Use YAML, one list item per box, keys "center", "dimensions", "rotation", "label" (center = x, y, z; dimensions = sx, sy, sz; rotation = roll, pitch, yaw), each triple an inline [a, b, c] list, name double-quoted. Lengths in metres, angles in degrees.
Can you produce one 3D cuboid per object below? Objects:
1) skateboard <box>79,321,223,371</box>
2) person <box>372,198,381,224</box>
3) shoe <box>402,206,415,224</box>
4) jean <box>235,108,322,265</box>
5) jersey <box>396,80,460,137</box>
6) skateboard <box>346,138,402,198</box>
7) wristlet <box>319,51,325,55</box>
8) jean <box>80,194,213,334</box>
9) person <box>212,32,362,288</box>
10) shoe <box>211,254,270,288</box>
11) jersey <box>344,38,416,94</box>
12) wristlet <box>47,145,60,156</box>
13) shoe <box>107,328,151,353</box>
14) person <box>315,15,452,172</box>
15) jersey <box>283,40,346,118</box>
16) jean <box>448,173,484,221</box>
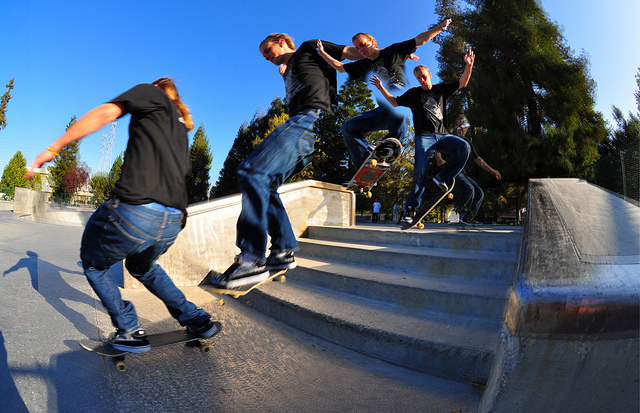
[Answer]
- center: [-1.463, 1.170, 3.283]
  dimensions: [1.086, 0.192, 0.395]
  rotation: [5, 7, -34]
  label: "skateboard"
- center: [2.987, 0.283, 20.591]
  dimensions: [0.314, 1.203, 1.209]
  rotation: [5, 2, 8]
  label: "person"
- center: [1.314, 0.149, 5.631]
  dimensions: [0.109, 0.155, 0.335]
  rotation: [5, 25, 16]
  label: "shoe"
- center: [-0.420, -0.217, 3.399]
  dimensions: [0.706, 1.174, 0.247]
  rotation: [4, 2, -35]
  label: "jean"
- center: [1.724, -1.551, 5.896]
  dimensions: [1.173, 0.891, 0.187]
  rotation: [-4, 0, 0]
  label: "jersey"
- center: [0.809, -0.610, 5.895]
  dimensions: [0.392, 0.200, 1.331]
  rotation: [9, -26, -10]
  label: "skateboard"
- center: [-0.005, -1.506, 3.525]
  dimensions: [0.047, 0.026, 0.021]
  rotation: [6, 2, 17]
  label: "wristlet"
- center: [-1.519, 0.499, 3.324]
  dimensions: [0.975, 1.530, 0.666]
  rotation: [-2, 17, -37]
  label: "jean"
- center: [-0.296, -0.656, 3.736]
  dimensions: [1.506, 2.795, 0.892]
  rotation: [0, -16, -3]
  label: "person"
- center: [-0.720, 0.569, 3.253]
  dimensions: [0.544, 0.270, 0.199]
  rotation: [-7, 13, -30]
  label: "shoe"
- center: [0.724, -1.720, 4.204]
  dimensions: [0.402, 0.622, 1.059]
  rotation: [6, 2, 34]
  label: "jersey"
- center: [-2.072, -0.442, 2.861]
  dimensions: [0.074, 0.080, 0.134]
  rotation: [3, 3, -37]
  label: "wristlet"
- center: [-1.603, 1.183, 3.218]
  dimensions: [0.409, 0.198, 0.168]
  rotation: [13, -2, -14]
  label: "shoe"
- center: [0.739, -1.413, 4.488]
  dimensions: [1.531, 2.138, 0.950]
  rotation: [-1, -11, 15]
  label: "person"
- center: [-0.097, -1.245, 3.590]
  dimensions: [0.539, 0.629, 0.333]
  rotation: [5, 2, -8]
  label: "jersey"
- center: [3.650, -0.301, 9.273]
  dimensions: [0.847, 0.710, 2.433]
  rotation: [-1, -27, 18]
  label: "jean"
